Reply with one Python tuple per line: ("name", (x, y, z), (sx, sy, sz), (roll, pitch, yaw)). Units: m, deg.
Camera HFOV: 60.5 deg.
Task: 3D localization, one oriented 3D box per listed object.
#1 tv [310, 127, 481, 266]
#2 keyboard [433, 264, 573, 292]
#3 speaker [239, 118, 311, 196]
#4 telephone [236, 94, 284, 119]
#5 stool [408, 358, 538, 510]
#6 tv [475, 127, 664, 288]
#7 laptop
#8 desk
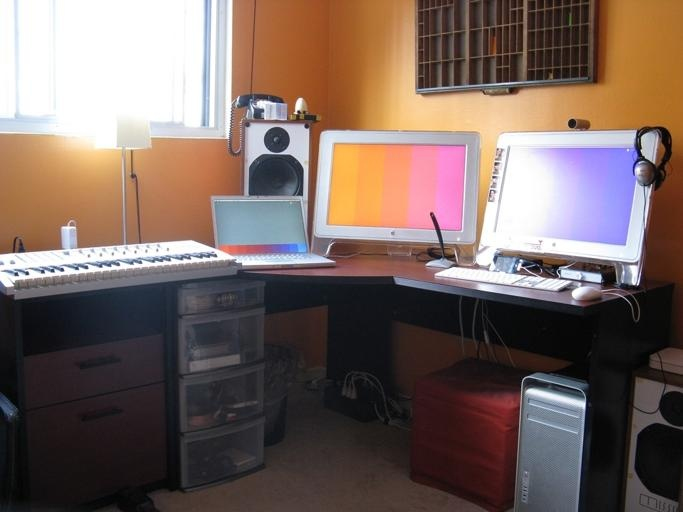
("tv", (0.272, -0.292, 2.837), (0.613, 0.504, 0.075), (2, -2, 12))
("keyboard", (0.658, 0.081, 2.390), (0.537, 0.049, 0.240), (9, 15, 20))
("speaker", (-0.346, -0.520, 3.109), (0.378, 0.503, 0.318), (4, 27, 0))
("telephone", (-0.449, -0.795, 3.095), (0.315, 0.129, 0.199), (15, 18, 40))
("stool", (0.630, 0.727, 2.640), (0.476, 0.508, 0.489), (3, 3, 42))
("tv", (0.993, -0.198, 2.469), (0.584, 0.570, 0.264), (7, 10, 38))
("laptop", (-0.327, -0.127, 2.649), (0.499, 0.298, 0.452), (-1, 6, -13))
("desk", (0.696, 0.350, 2.485), (1.089, 0.819, 1.387), (0, 4, -34))
